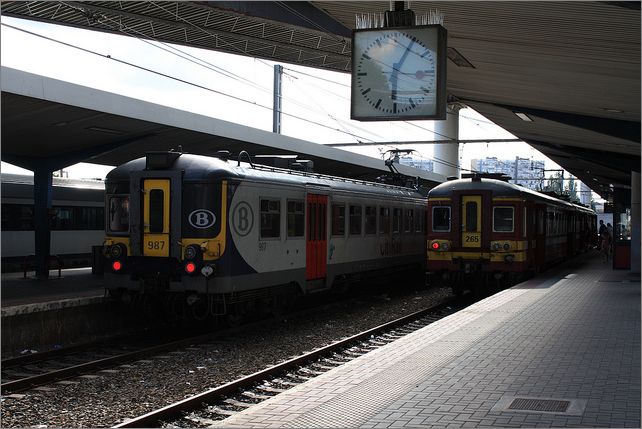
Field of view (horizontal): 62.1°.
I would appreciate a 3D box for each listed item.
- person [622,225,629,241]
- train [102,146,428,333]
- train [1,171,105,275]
[{"bbox_3d":[13.931,0.780,24.416,0.319,0.802,1.308,-4,-2,32],"label":"person"},{"bbox_3d":[0.250,0.449,22.007,3.803,4.915,19.453,1,2,32],"label":"train"},{"bbox_3d":[-13.961,0.453,27.468,1.152,4.718,5.898,-4,-2,22],"label":"train"}]
